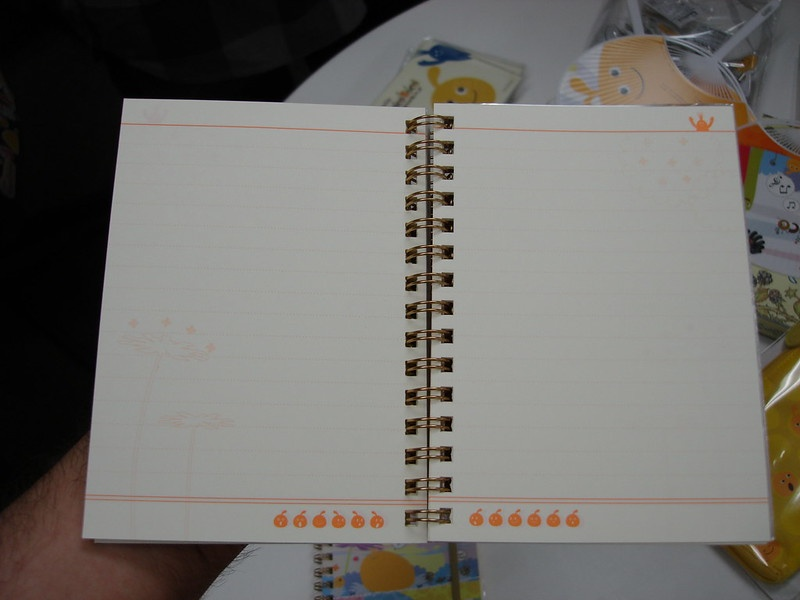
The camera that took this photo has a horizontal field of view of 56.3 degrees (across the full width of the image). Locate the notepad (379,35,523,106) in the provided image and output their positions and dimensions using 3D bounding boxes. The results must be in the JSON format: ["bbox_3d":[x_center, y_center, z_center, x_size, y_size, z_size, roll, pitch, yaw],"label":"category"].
[{"bbox_3d":[0.122,-0.465,1.636,0.207,0.023,0.214,27,74,16],"label":"notepad"}]

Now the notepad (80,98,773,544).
[{"bbox_3d":[0.040,0.053,1.185,0.937,0.123,0.607,1,82,1],"label":"notepad"}]
